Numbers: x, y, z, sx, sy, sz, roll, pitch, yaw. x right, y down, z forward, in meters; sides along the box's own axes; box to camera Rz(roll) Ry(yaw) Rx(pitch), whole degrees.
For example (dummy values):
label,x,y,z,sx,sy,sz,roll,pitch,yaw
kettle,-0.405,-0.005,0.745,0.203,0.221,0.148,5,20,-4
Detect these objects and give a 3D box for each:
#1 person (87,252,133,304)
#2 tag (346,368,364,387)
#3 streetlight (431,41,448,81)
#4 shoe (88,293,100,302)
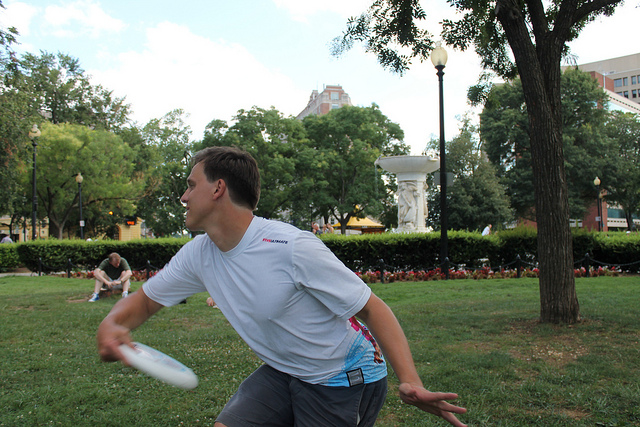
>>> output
label,x,y,z,sx,sy,sz,roll,pitch,yaw
person,-6.288,1.837,14.586,1.118,1.335,1.728,1,6,-20
tag,0.364,1.717,5.059,0.181,0.145,0.013,-3,1,-2
streetlight,4.191,-5.306,17.032,0.532,0.820,0.597,-3,1,13
shoe,-6.667,2.462,14.225,0.306,0.258,0.377,-3,0,-26
